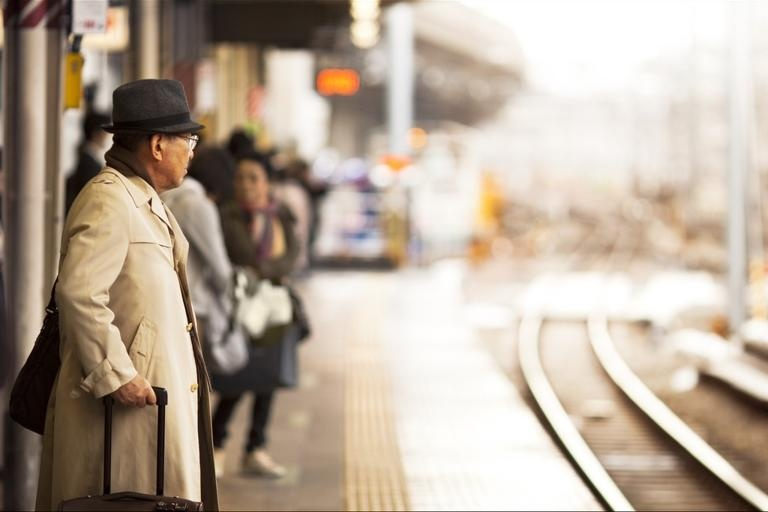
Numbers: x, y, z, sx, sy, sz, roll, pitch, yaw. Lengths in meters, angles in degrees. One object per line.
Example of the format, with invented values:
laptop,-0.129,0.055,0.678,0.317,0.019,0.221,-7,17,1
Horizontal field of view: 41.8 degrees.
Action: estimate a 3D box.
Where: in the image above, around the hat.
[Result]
hat,-1.095,-0.695,4.789,0.375,0.152,0.317,-5,5,5
